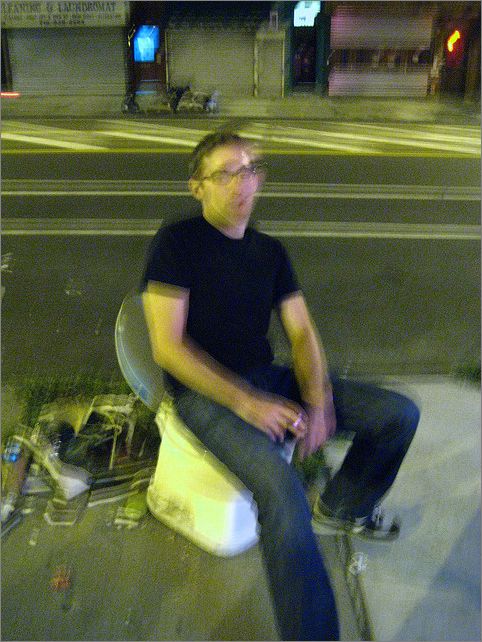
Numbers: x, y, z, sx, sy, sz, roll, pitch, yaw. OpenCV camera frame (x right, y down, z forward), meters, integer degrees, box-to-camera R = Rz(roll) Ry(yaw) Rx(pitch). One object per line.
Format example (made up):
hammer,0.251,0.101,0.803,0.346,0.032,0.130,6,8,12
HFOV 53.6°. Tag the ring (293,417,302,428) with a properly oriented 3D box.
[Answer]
ring,0.140,0.246,1.169,0.009,0.026,0.018,19,11,-8

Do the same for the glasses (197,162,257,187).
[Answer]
glasses,-0.019,-0.339,1.083,0.143,0.055,0.038,4,24,-3
